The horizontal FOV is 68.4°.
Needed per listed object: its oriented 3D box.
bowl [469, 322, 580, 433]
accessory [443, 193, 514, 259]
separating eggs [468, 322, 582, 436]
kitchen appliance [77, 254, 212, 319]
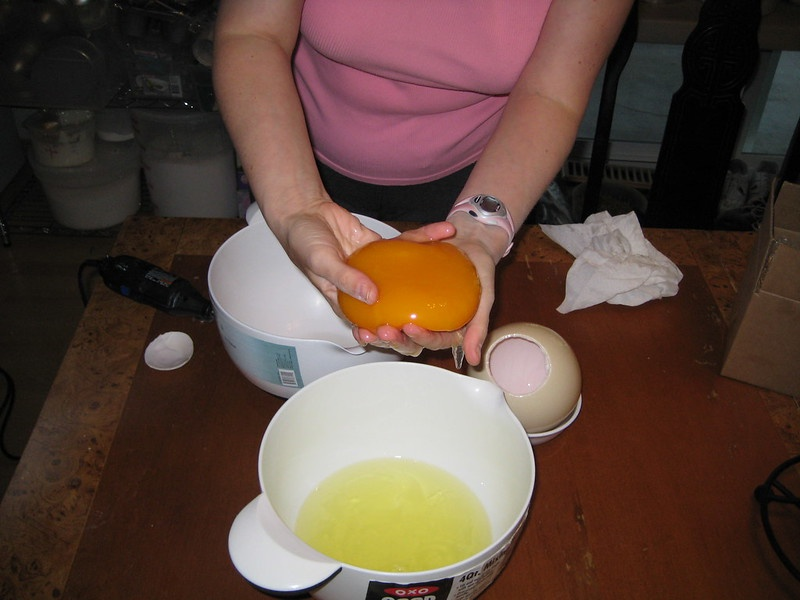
[{"bbox_3d":[0.195,0.135,0.976,0.156,0.099,0.173,-8,65,1],"label":"bowl"},{"bbox_3d":[0.152,-0.119,1.026,0.088,0.044,0.106,-19,88,4],"label":"accessory"},{"bbox_3d":[0.194,0.124,0.954,0.158,0.105,0.179,-1,67,4],"label":"separating eggs"},{"bbox_3d":[-0.496,-0.004,1.181,0.214,0.054,0.132,22,59,18],"label":"kitchen appliance"}]
